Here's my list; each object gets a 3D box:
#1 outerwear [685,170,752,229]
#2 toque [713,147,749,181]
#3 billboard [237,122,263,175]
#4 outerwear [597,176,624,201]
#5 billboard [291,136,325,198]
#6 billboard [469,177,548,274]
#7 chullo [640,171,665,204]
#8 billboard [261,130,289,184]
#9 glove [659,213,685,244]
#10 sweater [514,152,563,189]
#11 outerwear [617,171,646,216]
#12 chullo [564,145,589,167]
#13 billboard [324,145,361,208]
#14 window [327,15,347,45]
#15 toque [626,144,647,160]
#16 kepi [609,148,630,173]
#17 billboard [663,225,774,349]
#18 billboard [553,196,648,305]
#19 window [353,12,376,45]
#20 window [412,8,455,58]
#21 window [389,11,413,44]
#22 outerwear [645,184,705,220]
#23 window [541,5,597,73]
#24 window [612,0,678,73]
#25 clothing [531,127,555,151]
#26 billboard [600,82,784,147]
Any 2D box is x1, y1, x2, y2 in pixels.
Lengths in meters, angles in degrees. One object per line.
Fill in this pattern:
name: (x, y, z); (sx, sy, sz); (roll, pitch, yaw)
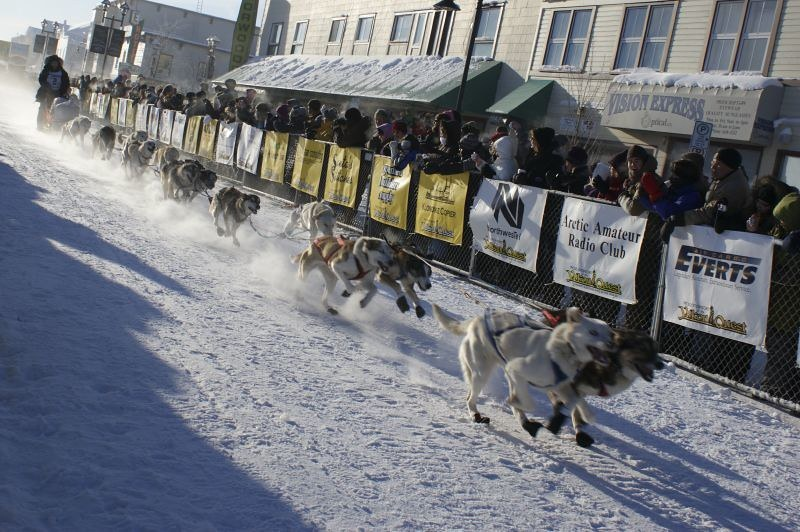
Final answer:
outerwear: (4.409, -0.927, 9.604); (0.788, 0.834, 0.347); (-3, -19, 44)
toque: (4.571, -1.458, 9.807); (0.449, 0.428, 0.387); (8, 20, 9)
billboard: (-3.937, -3.150, 18.652); (0.099, 1.048, 1.245); (-2, 20, -26)
outerwear: (3.195, -1.154, 10.735); (0.389, 0.411, 0.172); (15, 9, 21)
billboard: (-2.183, -2.362, 16.123); (0.095, 1.181, 1.624); (13, 5, 19)
billboard: (1.845, -0.747, 11.779); (0.200, 1.195, 1.374); (-10, 21, -39)
chullo: (3.545, -1.125, 10.080); (0.321, 0.438, 0.125); (-35, 0, -7)
billboard: (-3.068, -2.756, 17.477); (0.054, 1.170, 1.141); (-2, 17, -28)
glove: (3.770, -0.571, 9.868); (0.199, 0.412, 0.237); (-26, 54, -38)
sweater: (2.344, -1.618, 11.814); (0.633, 0.657, 0.293); (23, 5, -11)
outerwear: (3.380, -1.038, 10.270); (0.306, 0.563, 0.589); (1, 13, -25)
chullo: (2.930, -1.856, 11.870); (0.261, 0.211, 0.380); (2, 6, -1)
billboard: (-1.256, -1.982, 15.130); (0.093, 1.289, 1.248); (-1, 8, -40)
window: (-2.798, -10.734, 31.911); (0.125, 1.707, 1.438); (7, 9, -36)
toque: (3.503, -1.701, 10.417); (0.299, 0.181, 0.312); (10, 13, 15)
kepi: (3.388, -1.650, 11.014); (0.295, 0.348, 0.283); (10, 13, -17)
billboard: (4.281, 0.241, 9.406); (0.110, 1.459, 1.453); (1, 9, -44)
billboard: (2.945, -0.234, 10.570); (1.554, 1.418, 0.085); (11, -7, -17)
window: (-1.457, -10.143, 29.949); (0.129, 1.722, 1.438); (9, 6, -38)
window: (1.223, -8.742, 26.571); (1.692, 1.794, 0.171); (5, -9, 22)
window: (0.073, -9.539, 28.032); (0.113, 1.224, 1.217); (3, 22, -42)
outerwear: (3.970, -1.057, 10.227); (0.806, 0.323, 0.835); (-16, 17, -38)
window: (5.223, -6.981, 21.587); (0.148, 2.099, 1.761); (7, 16, -46)
window: (6.942, -6.479, 19.843); (0.141, 2.230, 1.786); (2, 19, -43)
clothing: (2.465, -2.211, 12.171); (0.330, 0.390, 0.455); (-9, 15, -16)
billboard: (7.374, -4.314, 18.870); (1.513, 1.583, 5.127); (2, 12, -34)
